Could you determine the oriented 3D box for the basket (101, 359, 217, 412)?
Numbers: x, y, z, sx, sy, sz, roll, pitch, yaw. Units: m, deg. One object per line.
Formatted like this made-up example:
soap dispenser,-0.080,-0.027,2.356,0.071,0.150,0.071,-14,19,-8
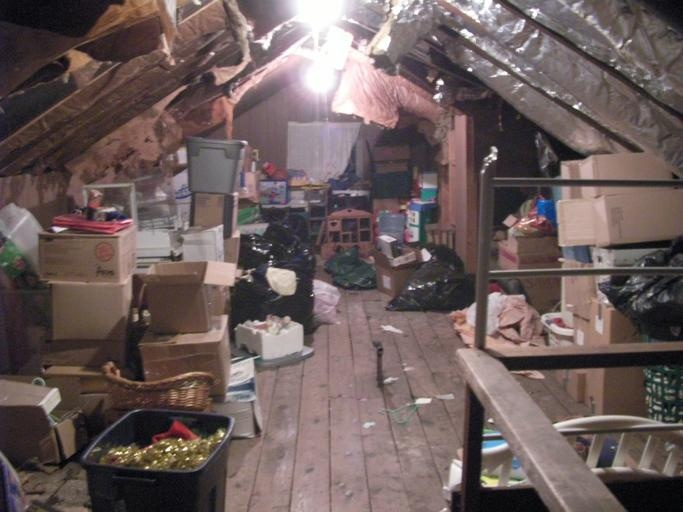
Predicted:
basket,-0.900,0.647,2.942,0.378,0.137,0.303,1,-4,-8
